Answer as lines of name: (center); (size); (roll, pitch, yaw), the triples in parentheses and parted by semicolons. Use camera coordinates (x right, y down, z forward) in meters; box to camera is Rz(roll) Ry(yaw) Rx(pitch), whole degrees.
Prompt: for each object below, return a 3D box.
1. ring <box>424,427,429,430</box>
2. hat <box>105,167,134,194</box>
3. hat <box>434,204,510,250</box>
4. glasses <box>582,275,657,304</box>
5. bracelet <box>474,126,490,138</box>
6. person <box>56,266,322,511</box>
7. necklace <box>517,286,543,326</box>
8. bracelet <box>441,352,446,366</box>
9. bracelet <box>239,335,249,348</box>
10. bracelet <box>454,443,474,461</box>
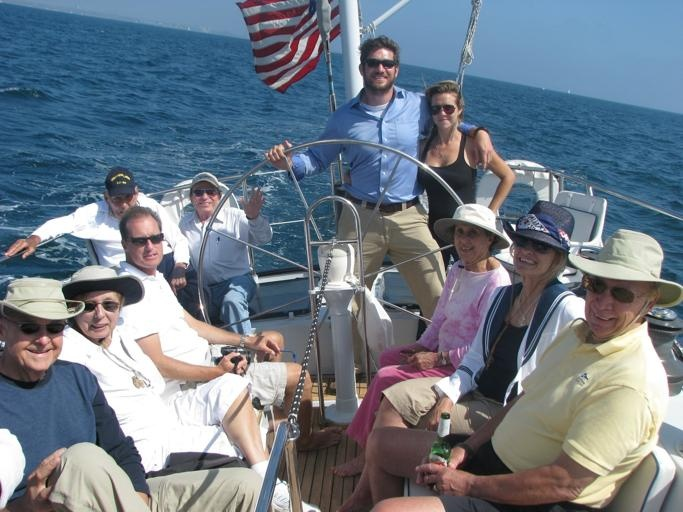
ring: (0.406, 0.806, 3.232); (0.014, 0.013, 0.013); (0, 3, 0)
hat: (-1.554, -0.529, 4.891); (0.161, 0.108, 0.223); (-10, 19, -23)
hat: (0.667, -0.200, 3.638); (0.295, 0.302, 0.126); (31, 55, -18)
glasses: (1.052, 0.129, 2.617); (0.156, 0.043, 0.156); (5, -25, 24)
bracelet: (0.884, -0.778, 4.345); (0.078, 0.052, 0.070); (3, 37, 5)
person: (-0.451, 0.566, 3.239); (1.599, 0.996, 0.791); (3, 7, -10)
necklace: (0.859, 0.230, 3.214); (0.055, 0.154, 0.118); (20, -3, -38)
bracelet: (0.520, 0.521, 3.500); (0.017, 0.050, 0.041); (-7, -10, 1)
bracelet: (-0.544, 0.485, 3.923); (0.045, 0.067, 0.073); (6, -9, 21)
bracelet: (0.536, 0.844, 2.994); (0.063, 0.061, 0.059); (32, 25, -44)
